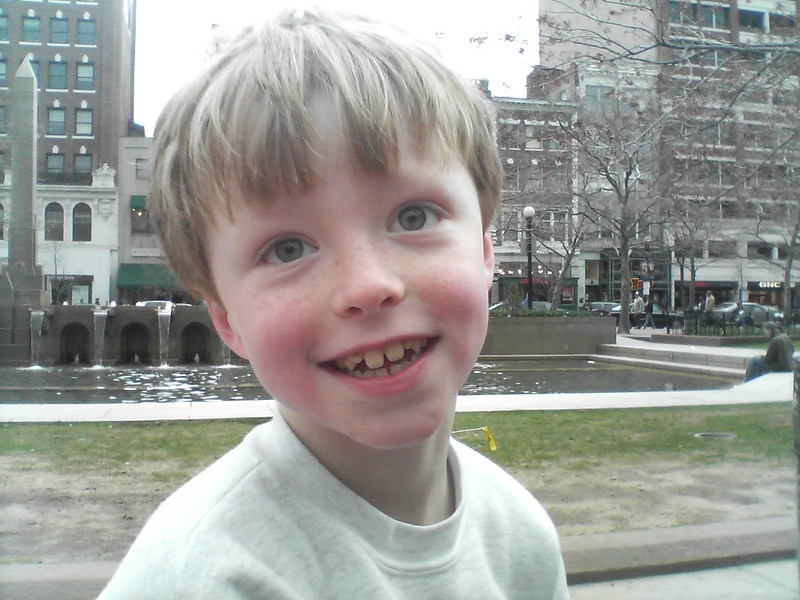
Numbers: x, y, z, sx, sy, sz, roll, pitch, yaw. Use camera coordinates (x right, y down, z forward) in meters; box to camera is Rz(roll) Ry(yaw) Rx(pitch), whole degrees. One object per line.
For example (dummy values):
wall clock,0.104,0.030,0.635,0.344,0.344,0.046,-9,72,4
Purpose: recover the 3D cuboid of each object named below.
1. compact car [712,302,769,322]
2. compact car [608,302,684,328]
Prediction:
compact car,13.520,0.455,39.357,1.581,0.489,0.710,-4,5,-27
compact car,9.962,0.620,40.444,2.332,0.806,1.037,-2,3,-10
